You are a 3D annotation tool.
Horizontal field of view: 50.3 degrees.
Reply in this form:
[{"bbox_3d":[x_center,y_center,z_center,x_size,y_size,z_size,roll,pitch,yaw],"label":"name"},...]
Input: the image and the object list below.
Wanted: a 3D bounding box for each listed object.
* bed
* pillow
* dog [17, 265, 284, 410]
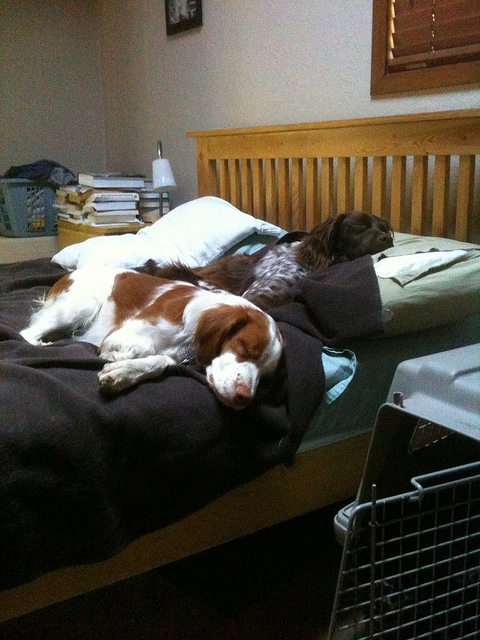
[{"bbox_3d":[0.198,-0.016,1.978,1.499,0.879,1.452,-10,18,-23],"label":"bed"},{"bbox_3d":[-0.412,-0.406,2.457,0.502,0.158,0.645,14,22,18],"label":"pillow"},{"bbox_3d":[-0.225,0.013,1.210,0.403,0.268,0.724,-7,9,-37],"label":"dog"}]
